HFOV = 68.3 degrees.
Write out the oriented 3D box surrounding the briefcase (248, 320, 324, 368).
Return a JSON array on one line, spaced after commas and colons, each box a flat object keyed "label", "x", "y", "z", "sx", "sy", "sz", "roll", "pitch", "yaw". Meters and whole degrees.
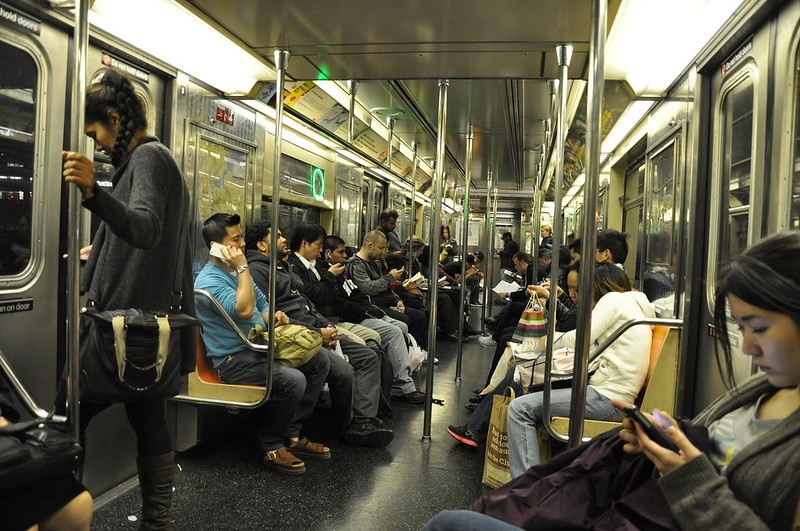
[{"label": "briefcase", "x": -0.951, "y": 0.644, "z": 5.021, "sx": 0.423, "sy": 0.167, "sz": 0.427, "roll": 24, "pitch": 22, "yaw": 14}]
